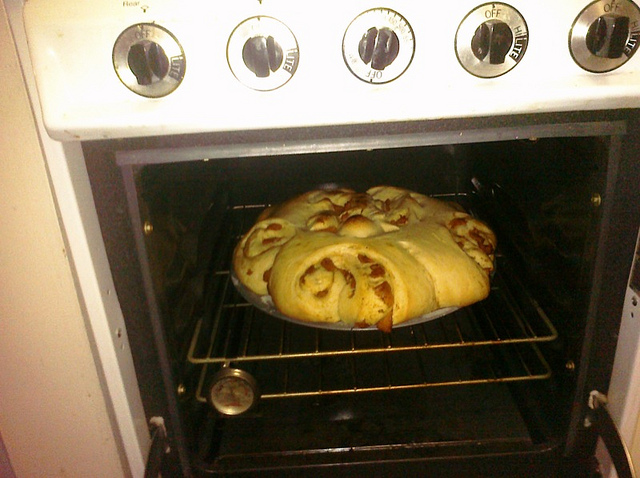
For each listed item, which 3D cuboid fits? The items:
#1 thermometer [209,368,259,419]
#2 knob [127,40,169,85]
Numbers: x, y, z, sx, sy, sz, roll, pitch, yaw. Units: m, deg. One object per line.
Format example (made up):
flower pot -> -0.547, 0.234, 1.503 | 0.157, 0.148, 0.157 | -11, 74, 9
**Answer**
thermometer -> -0.177, 0.315, 1.126 | 0.098, 0.024, 0.103 | 21, -71, -10
knob -> -0.267, -0.267, 0.821 | 0.058, 0.014, 0.060 | -6, -70, -3
